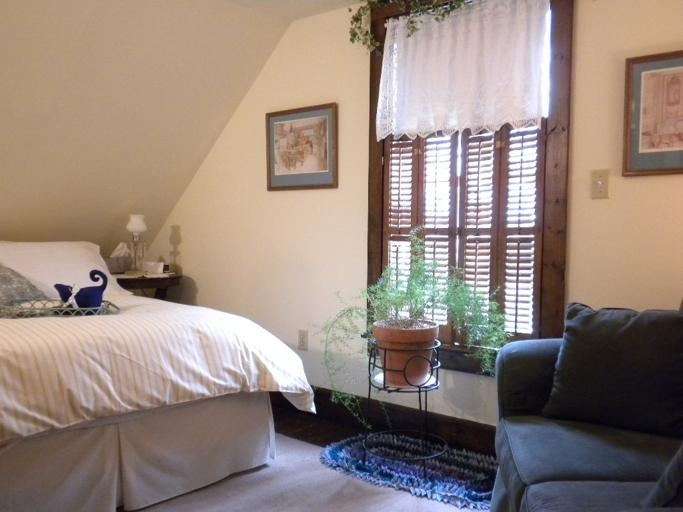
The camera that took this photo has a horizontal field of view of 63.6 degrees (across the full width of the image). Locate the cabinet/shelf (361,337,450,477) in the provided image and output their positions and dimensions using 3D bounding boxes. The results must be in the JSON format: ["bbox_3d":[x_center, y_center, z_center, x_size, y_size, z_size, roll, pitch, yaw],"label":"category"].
[{"bbox_3d":[0.194,0.853,3.104,0.495,0.779,0.522,-6,-3,-10],"label":"cabinet/shelf"}]

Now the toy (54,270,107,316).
[{"bbox_3d":[-1.386,0.185,2.985,0.258,0.271,0.173,3,17,1],"label":"toy"}]

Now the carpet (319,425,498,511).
[{"bbox_3d":[0.375,1.153,3.094,0.948,0.095,0.509,3,10,24],"label":"carpet"}]

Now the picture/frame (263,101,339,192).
[{"bbox_3d":[-0.257,-0.762,3.811,0.649,0.639,0.028,1,2,31],"label":"picture/frame"}]

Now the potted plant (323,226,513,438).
[{"bbox_3d":[0.467,0.470,3.478,1.242,1.626,1.139,0,2,-4],"label":"potted plant"}]

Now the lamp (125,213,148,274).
[{"bbox_3d":[-1.597,-0.100,4.304,0.155,0.437,0.154,1,-2,-32],"label":"lamp"}]
